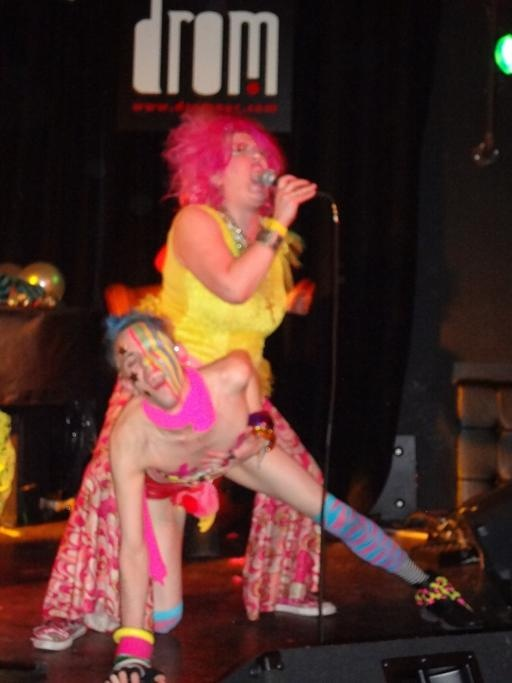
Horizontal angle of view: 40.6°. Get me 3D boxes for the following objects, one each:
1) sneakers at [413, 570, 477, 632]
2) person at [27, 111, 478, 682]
[{"bbox_3d":[0.460,0.626,1.664,0.093,0.145,0.078,-33,19,-28],"label":"sneakers"},{"bbox_3d":[-0.059,0.087,1.534,0.705,1.160,0.564,3,-5,-33],"label":"person"}]
